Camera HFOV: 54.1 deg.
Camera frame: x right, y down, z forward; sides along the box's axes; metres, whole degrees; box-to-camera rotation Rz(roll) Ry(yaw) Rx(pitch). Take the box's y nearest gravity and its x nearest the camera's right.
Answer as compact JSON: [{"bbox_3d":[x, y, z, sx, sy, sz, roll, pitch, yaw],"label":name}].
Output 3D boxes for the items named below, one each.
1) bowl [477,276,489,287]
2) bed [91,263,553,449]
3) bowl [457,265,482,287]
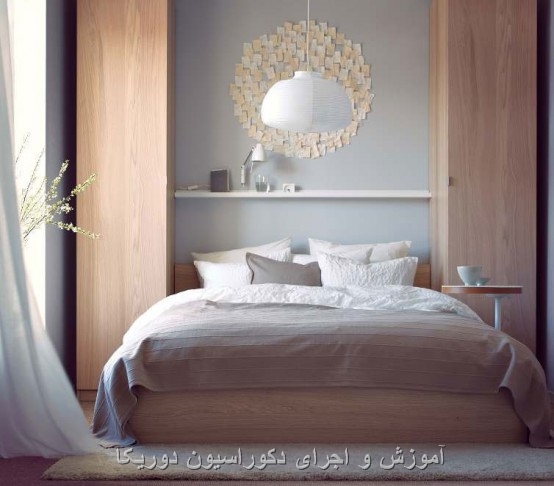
[{"bbox_3d":[1.296,0.245,3.404,0.051,0.056,0.059,0,-9,19],"label":"bowl"},{"bbox_3d":[0.205,0.625,2.768,2.063,0.593,0.775,-4,9,0],"label":"bed"},{"bbox_3d":[1.199,0.211,3.420,0.118,0.118,0.122,1,-3,0],"label":"bowl"}]
